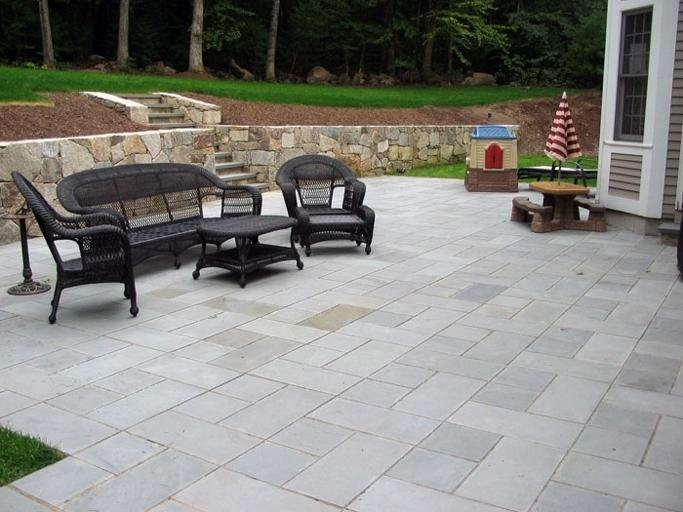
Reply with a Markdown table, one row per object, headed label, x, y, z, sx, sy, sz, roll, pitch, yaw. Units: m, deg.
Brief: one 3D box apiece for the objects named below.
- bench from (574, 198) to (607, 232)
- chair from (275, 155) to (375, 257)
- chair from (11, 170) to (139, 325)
| label | x | y | z | sx | sy | sz | roll | pitch | yaw |
| --- | --- | --- | --- | --- | --- | --- | --- | --- | --- |
| bench | 4.051 | -0.653 | 8.273 | 0.490 | 0.451 | 0.560 | 3 | 15 | 20 |
| chair | -0.276 | -0.791 | 7.341 | 1.259 | 0.910 | 1.443 | -5 | 28 | -18 |
| chair | -2.787 | -0.004 | 4.790 | 1.159 | 1.200 | 1.122 | -14 | -5 | 26 |
